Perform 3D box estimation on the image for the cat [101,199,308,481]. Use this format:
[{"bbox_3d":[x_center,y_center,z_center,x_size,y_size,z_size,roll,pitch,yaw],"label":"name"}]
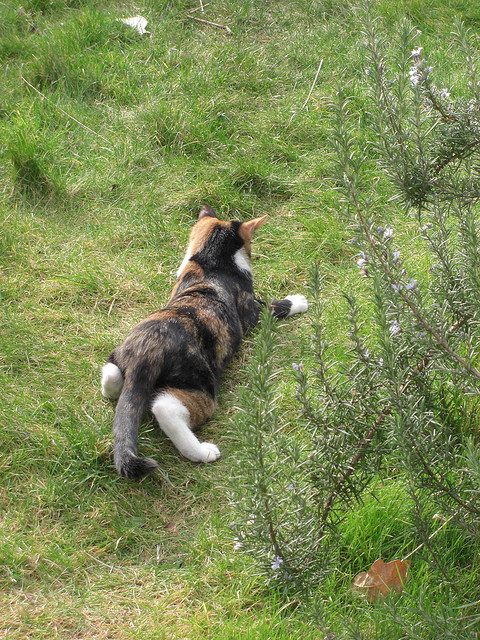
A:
[{"bbox_3d":[-0.275,0.057,3.387,0.892,0.636,1.720,15,36,9],"label":"cat"}]
